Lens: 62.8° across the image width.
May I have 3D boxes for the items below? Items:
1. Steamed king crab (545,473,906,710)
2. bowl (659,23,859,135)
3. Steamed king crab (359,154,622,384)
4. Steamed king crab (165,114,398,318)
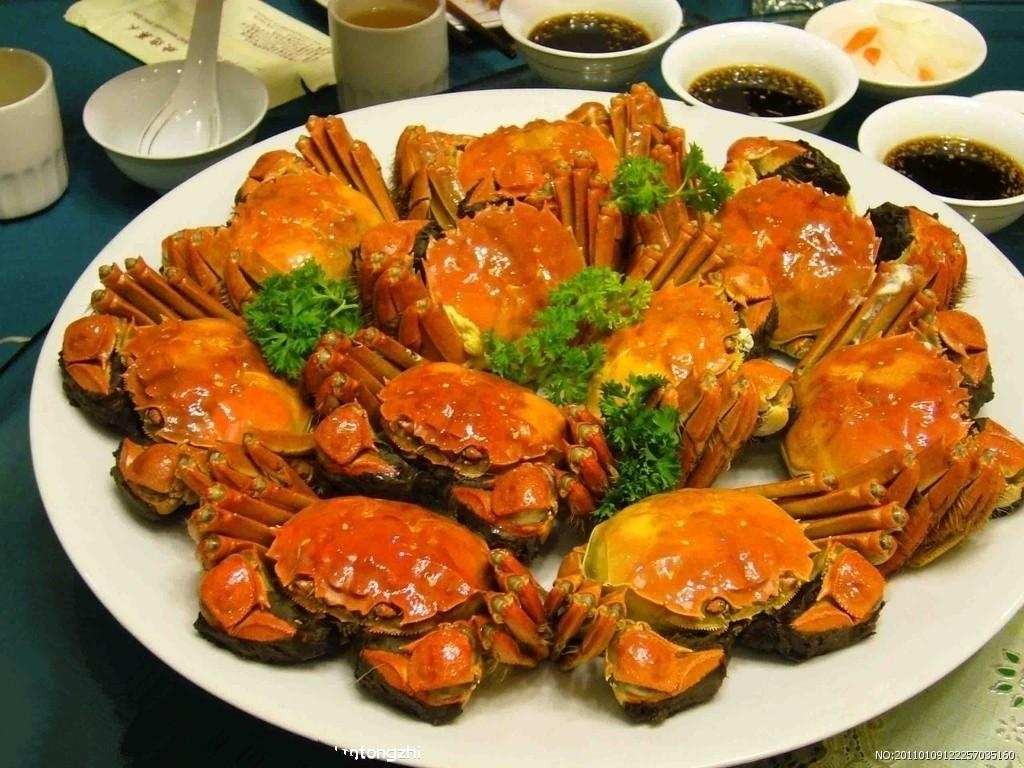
[{"bbox_3d":[0.564,0.535,2.429,0.982,0.366,0.621,-15,37,-17],"label":"Steamed king crab"},{"bbox_3d":[1.146,-1.319,3.900,0.703,0.242,0.685,-1,51,2],"label":"bowl"},{"bbox_3d":[-0.114,-0.375,2.852,0.976,0.367,0.624,-24,71,-8],"label":"Steamed king crab"},{"bbox_3d":[-0.797,-0.582,2.956,0.803,0.341,0.750,34,64,28],"label":"Steamed king crab"}]
